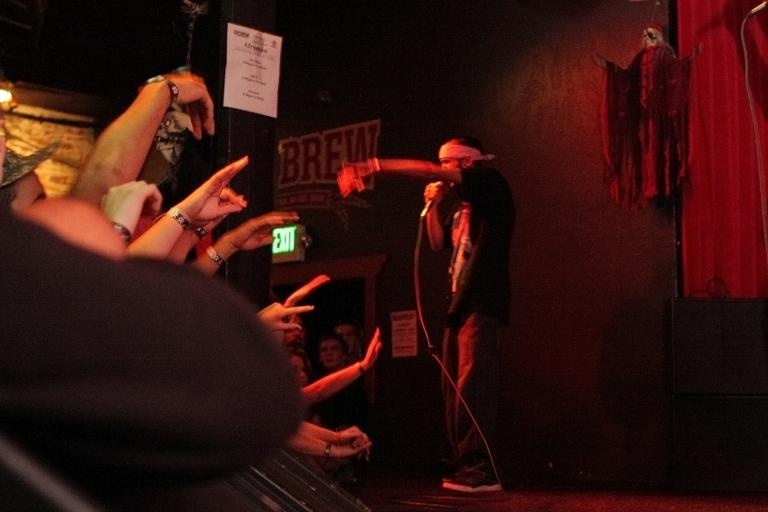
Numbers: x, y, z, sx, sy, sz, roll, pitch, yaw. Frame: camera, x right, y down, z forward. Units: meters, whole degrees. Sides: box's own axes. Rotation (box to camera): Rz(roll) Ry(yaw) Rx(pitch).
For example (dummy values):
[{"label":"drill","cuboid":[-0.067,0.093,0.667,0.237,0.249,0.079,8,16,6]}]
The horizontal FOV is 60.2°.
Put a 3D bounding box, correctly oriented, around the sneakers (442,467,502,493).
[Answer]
[{"label":"sneakers","cuboid":[0.503,1.271,3.760,0.307,0.116,0.155,-4,-13,24]}]
